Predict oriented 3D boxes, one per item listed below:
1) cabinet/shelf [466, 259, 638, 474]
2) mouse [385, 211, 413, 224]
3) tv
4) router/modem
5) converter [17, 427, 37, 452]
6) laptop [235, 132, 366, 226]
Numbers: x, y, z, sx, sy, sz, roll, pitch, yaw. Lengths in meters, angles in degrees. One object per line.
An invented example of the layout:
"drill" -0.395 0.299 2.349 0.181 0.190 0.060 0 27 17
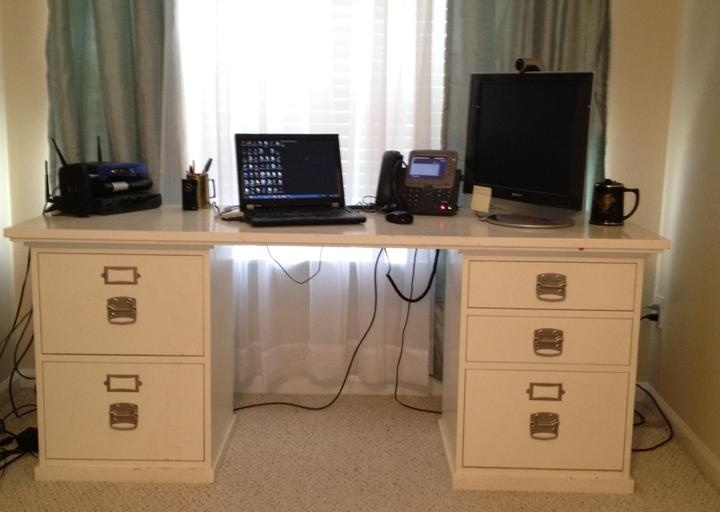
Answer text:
"cabinet/shelf" 0.687 0.408 2.763 0.847 1.118 0.750 0 4 2
"mouse" 0.160 -0.162 2.520 0.094 0.031 0.053 12 30 23
"tv" 0.667 -0.417 2.480 0.581 0.614 0.366 7 17 37
"router/modem" -1.080 -0.306 2.666 0.360 0.353 0.387 5 9 12
"converter" -1.377 0.770 2.614 0.087 0.020 0.084 11 28 -23
"laptop" -0.270 -0.319 2.573 0.517 0.362 0.433 -2 16 -15
